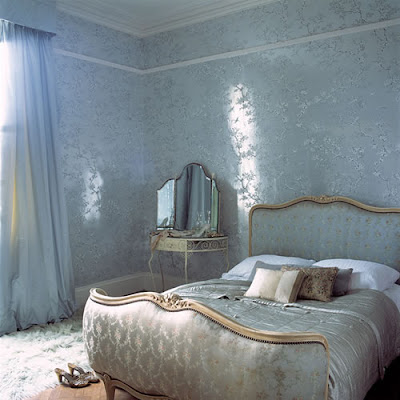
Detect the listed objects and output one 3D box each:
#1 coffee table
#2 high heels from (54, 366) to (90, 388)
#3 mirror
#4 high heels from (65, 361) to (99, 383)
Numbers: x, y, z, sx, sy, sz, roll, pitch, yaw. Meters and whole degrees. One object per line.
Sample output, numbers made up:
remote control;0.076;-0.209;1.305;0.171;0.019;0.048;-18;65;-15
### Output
coffee table;-0.084;0.808;4.403;0.506;0.766;0.836;0;-3;40
high heels;-0.851;1.200;2.489;0.171;0.086;0.114;-11;-13;38
mirror;-0.128;-0.015;4.409;0.727;0.940;0.026;2;-23;3
high heels;-0.807;1.197;2.534;0.189;0.095;0.118;-2;-8;27
